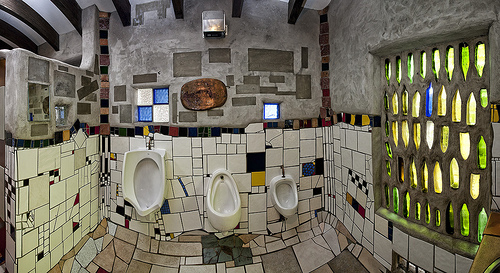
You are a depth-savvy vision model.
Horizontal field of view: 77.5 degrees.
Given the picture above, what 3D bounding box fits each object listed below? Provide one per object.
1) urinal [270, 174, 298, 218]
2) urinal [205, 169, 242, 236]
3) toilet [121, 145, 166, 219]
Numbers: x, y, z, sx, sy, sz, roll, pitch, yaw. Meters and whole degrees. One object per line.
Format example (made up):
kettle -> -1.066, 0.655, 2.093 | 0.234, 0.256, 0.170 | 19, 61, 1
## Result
urinal -> 0.496, 0.863, 4.627 | 0.469, 0.605, 0.283 | -1, -3, -7
urinal -> -0.399, 0.908, 4.642 | 0.528, 0.966, 0.489 | 1, -3, -17
toilet -> -1.550, 0.623, 4.551 | 0.664, 0.881, 0.532 | 5, 16, 0
